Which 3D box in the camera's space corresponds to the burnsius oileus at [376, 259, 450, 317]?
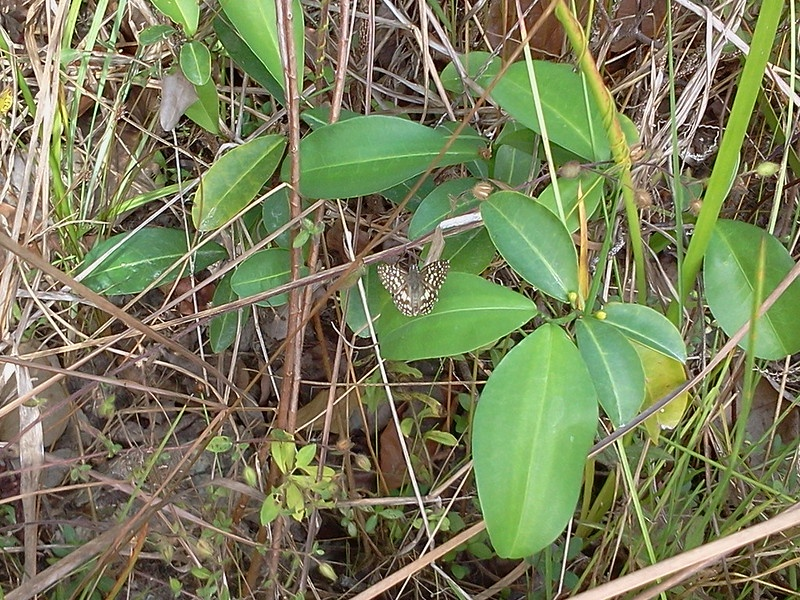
[{"bbox_3d":[0.021,-0.029,1.195,0.107,0.027,0.096,-4,95,8],"label":"burnsius oileus"}]
